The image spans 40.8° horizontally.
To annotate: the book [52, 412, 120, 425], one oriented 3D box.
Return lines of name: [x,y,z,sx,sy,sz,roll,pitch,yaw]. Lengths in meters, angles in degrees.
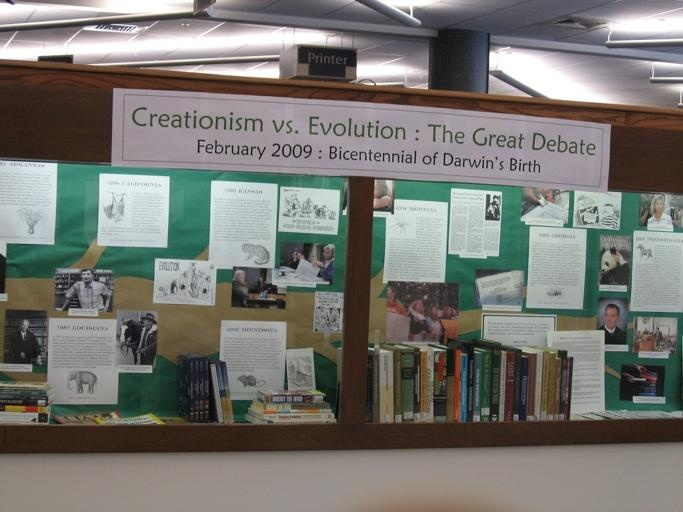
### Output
book: [-1.425,0.907,5.130,0.352,0.061,0.057,1,-1,-12]

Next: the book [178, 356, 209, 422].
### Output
book: [-0.831,0.751,5.211,0.172,0.363,0.050,0,-1,-3]

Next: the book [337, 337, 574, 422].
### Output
book: [0.713,0.744,5.396,1.277,0.489,0.492,0,0,-3]

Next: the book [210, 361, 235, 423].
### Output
book: [-0.680,0.770,5.239,0.134,0.340,0.067,0,-1,-9]
